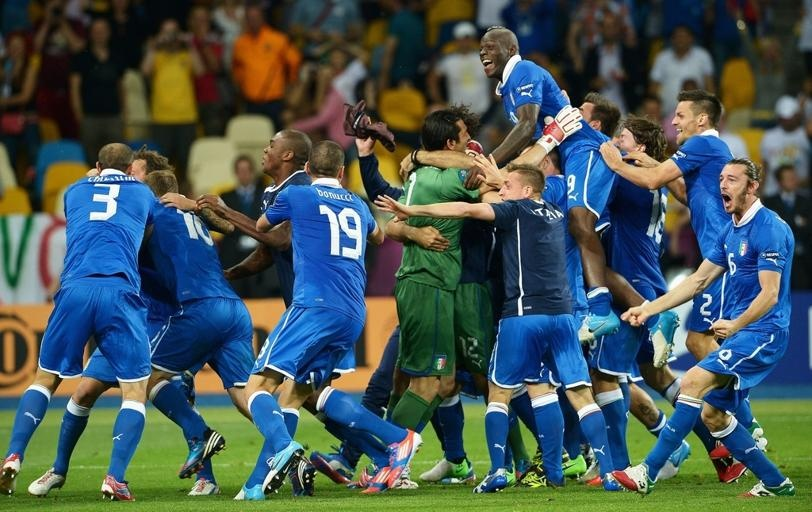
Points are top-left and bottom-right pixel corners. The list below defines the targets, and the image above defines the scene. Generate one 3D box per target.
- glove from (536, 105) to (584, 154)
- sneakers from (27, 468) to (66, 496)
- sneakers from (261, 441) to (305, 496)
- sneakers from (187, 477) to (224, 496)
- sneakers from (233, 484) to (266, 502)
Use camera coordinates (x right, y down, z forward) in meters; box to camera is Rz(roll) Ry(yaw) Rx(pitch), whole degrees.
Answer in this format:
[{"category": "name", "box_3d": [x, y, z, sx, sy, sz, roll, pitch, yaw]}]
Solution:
[{"category": "glove", "box_3d": [1.944, -1.628, 15.132, 0.661, 0.186, 0.396, -37, -15, 29]}, {"category": "sneakers", "box_3d": [-4.304, 2.716, 14.304, 0.125, 0.188, 0.351, 35, 42, 26]}, {"category": "sneakers", "box_3d": [-1.412, 2.428, 13.688, 0.199, 0.557, 0.283, 42, -8, -31]}, {"category": "sneakers", "box_3d": [-2.399, 2.765, 14.225, 0.430, 0.201, 0.149, 4, -7, -14]}, {"category": "sneakers", "box_3d": [-1.782, 2.715, 13.695, 0.407, 0.175, 0.154, -5, -9, 40]}]
